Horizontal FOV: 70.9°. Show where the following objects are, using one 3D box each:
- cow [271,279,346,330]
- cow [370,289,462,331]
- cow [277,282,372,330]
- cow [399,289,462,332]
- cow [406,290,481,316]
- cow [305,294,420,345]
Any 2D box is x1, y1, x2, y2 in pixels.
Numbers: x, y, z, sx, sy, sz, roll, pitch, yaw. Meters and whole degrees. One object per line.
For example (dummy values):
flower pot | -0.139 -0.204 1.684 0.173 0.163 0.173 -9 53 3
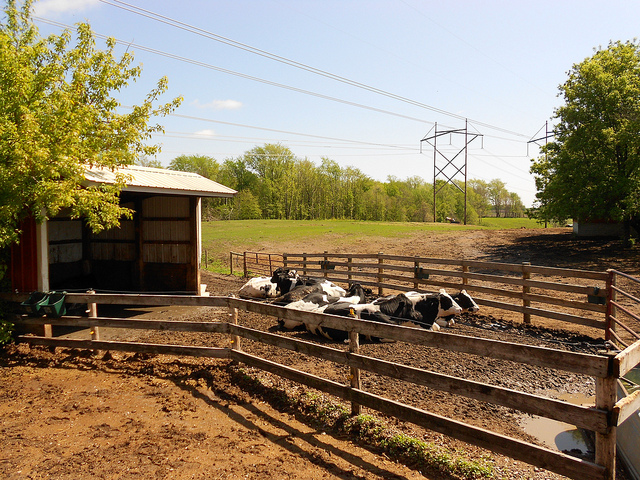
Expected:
cow | -0.284 1.399 10.518 2.497 1.043 0.782 6 -7 39
cow | 1.983 1.554 9.958 2.478 0.948 0.819 -8 -4 29
cow | 0.164 1.535 10.326 2.401 1.099 0.802 -10 21 -13
cow | 2.414 1.495 9.556 1.755 0.716 0.645 -3 2 -6
cow | 3.061 1.400 10.972 1.878 0.832 0.635 0 7 21
cow | 0.993 1.507 9.225 1.880 0.723 1.030 -1 2 -10
